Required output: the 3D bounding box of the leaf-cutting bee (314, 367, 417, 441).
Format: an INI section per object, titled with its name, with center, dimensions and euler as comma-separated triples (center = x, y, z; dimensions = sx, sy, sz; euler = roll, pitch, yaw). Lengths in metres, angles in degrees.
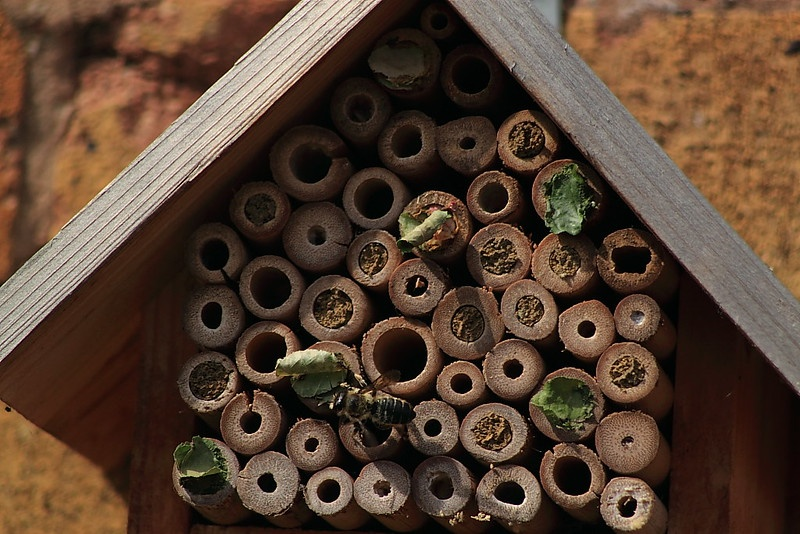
[leaf-cutting bee]
center = -0.145, 0.599, 5.783
dimensions = 0.386, 0.280, 0.116
euler = 18, 0, 8
